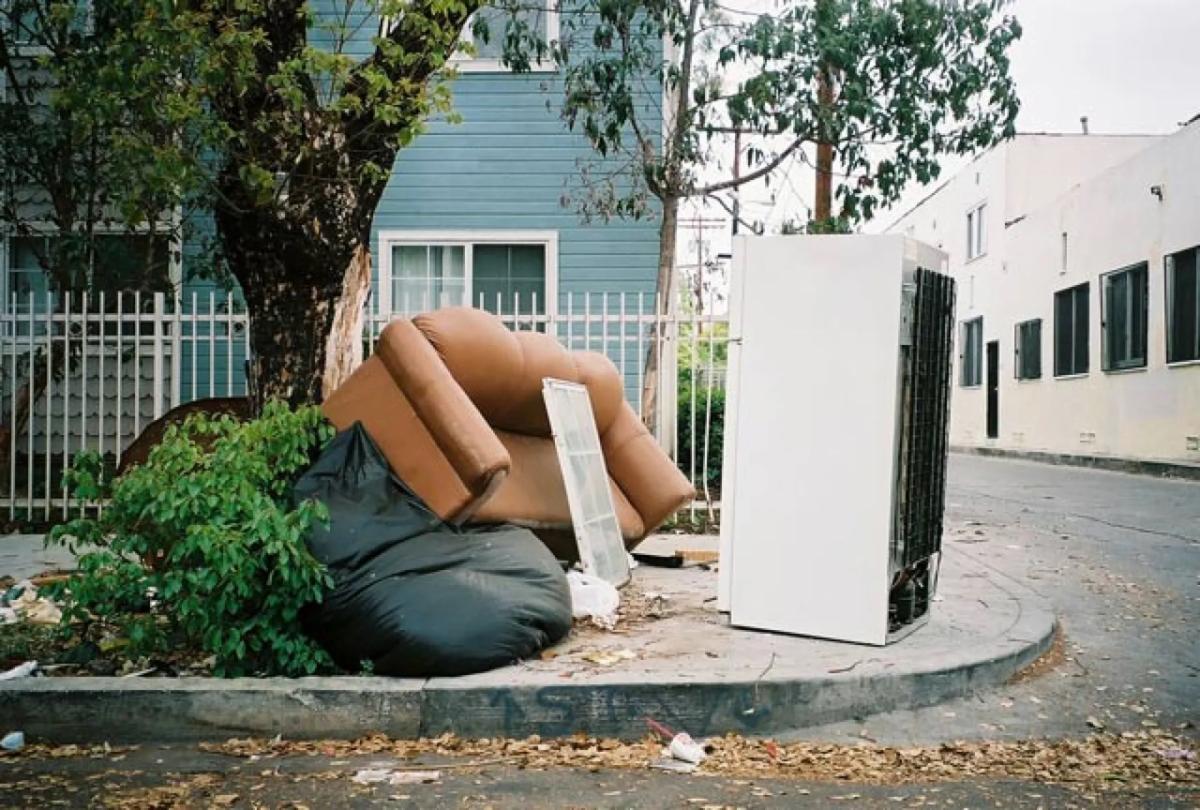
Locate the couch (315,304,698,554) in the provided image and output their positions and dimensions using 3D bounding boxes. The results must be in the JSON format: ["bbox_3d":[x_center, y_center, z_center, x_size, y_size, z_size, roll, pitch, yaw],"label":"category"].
[{"bbox_3d":[-0.644,0.303,9.492,1.387,2.176,3.678,-1,-2,33],"label":"couch"}]
